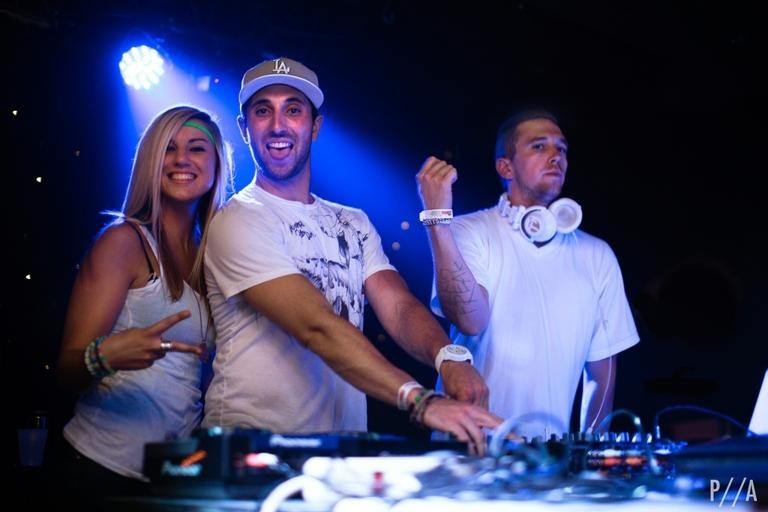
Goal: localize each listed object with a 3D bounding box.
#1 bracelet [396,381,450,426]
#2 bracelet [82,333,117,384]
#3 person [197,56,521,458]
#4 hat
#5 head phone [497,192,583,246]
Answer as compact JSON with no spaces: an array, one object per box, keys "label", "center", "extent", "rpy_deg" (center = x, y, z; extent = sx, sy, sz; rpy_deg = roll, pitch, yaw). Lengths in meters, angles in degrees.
[{"label":"bracelet","center":[0.121,0.513,2.343],"extent":[0.110,0.071,0.149],"rpy_deg":[31,2,21]},{"label":"bracelet","center":[-1.231,0.452,2.835],"extent":[0.061,0.168,0.170],"rpy_deg":[-1,-42,6]},{"label":"person","center":[-0.225,-0.093,2.850],"extent":[1.362,1.699,0.723],"rpy_deg":[-2,-6,39]},{"label":"hat","center":[-0.432,-0.780,3.244],"extent":[0.365,0.256,0.539],"rpy_deg":[2,-3,-1]},{"label":"head phone","center":[0.796,-0.189,3.305],"extent":[0.325,0.246,0.141],"rpy_deg":[-22,-27,-25]}]
